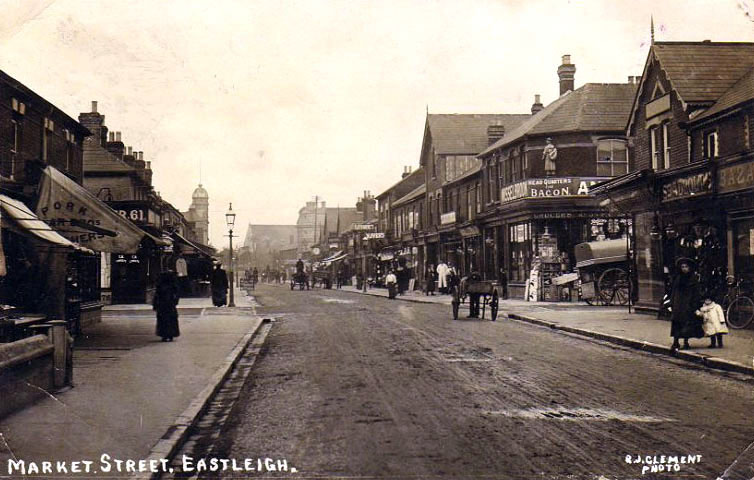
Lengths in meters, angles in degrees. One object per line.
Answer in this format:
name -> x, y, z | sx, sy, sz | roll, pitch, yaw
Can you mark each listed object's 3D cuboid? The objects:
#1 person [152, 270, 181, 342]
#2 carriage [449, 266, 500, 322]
person -> -6.122, 1.838, 23.086 | 0.708, 2.056, 0.725 | -2, -1, -2
carriage -> 3.406, 2.033, 29.272 | 1.455, 1.207, 2.410 | 2, -11, -7
